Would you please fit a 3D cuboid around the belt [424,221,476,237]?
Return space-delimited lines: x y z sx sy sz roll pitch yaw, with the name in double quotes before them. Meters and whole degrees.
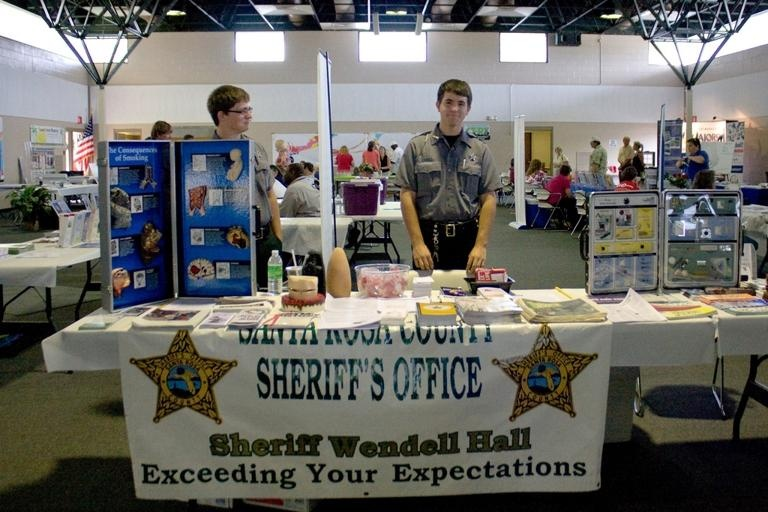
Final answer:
"belt" 0.431 -0.175 3.988 0.356 0.104 0.070 -2 8 3

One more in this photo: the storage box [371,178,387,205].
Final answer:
"storage box" -0.022 -0.868 7.997 0.284 0.416 0.401 -1 12 0

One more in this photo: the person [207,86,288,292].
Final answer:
"person" -0.896 -0.456 3.962 0.404 1.398 1.128 -4 8 -10

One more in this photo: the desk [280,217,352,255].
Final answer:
"desk" -0.790 -0.212 6.246 0.505 0.261 0.444 0 7 3

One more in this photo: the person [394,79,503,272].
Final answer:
"person" 0.397 -0.532 3.931 0.666 1.247 0.700 -1 8 10

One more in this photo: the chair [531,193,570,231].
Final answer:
"chair" 3.338 -0.903 12.424 0.690 0.882 0.669 -3 7 -5

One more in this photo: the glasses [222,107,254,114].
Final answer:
"glasses" -0.895 -0.910 3.795 0.096 0.044 0.190 5 12 38

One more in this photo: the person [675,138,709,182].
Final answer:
"person" 5.736 -1.806 11.289 0.438 0.759 1.333 1 10 25

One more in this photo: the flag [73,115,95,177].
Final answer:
"flag" -8.432 -3.177 17.189 0.584 1.527 1.017 -4 8 -10

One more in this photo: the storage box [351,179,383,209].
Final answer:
"storage box" -0.195 -0.729 7.096 0.340 0.267 0.281 -2 11 0

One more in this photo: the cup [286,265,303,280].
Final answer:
"cup" -0.500 0.093 3.385 0.074 0.055 0.071 0 4 0

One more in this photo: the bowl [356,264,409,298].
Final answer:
"bowl" 0.011 0.124 3.361 0.203 0.095 0.196 1 2 0

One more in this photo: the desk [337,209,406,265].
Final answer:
"desk" -0.192 -0.281 8.763 0.733 0.708 0.754 -1 5 0

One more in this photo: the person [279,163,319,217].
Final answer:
"person" -0.999 -0.721 7.132 0.442 0.871 0.533 4 37 -7

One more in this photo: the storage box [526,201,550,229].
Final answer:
"storage box" 3.167 -0.860 12.560 0.469 0.584 0.489 0 2 -6

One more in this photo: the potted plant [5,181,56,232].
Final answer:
"potted plant" -6.840 -0.947 11.816 1.018 1.049 1.042 1 8 4

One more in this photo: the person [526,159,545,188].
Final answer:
"person" 3.296 -1.825 13.217 0.371 0.511 1.320 0 9 13
